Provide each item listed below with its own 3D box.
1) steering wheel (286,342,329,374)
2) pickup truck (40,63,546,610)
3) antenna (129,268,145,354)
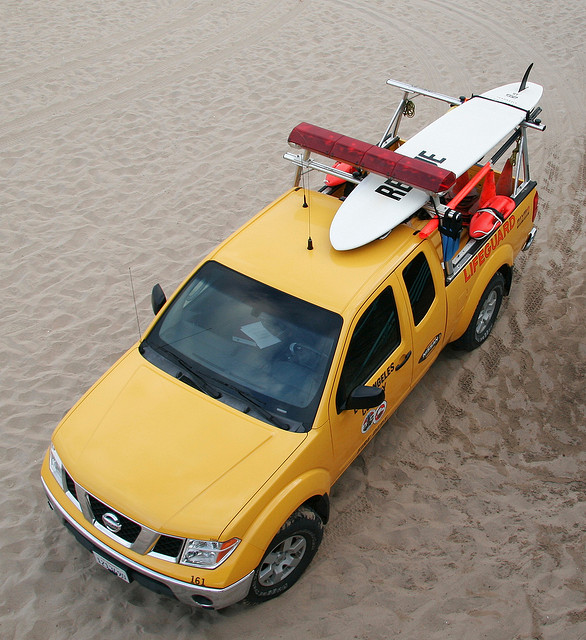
[{"bbox_3d":[0.108,0.273,4.952,0.349,0.096,0.147,27,46,24],"label":"steering wheel"},{"bbox_3d":[0.475,-0.276,5.915,2.146,2.269,5.483,29,63,39],"label":"pickup truck"},{"bbox_3d":[-1.706,-0.080,7.395,0.136,0.121,0.990,-12,54,-7],"label":"antenna"}]
